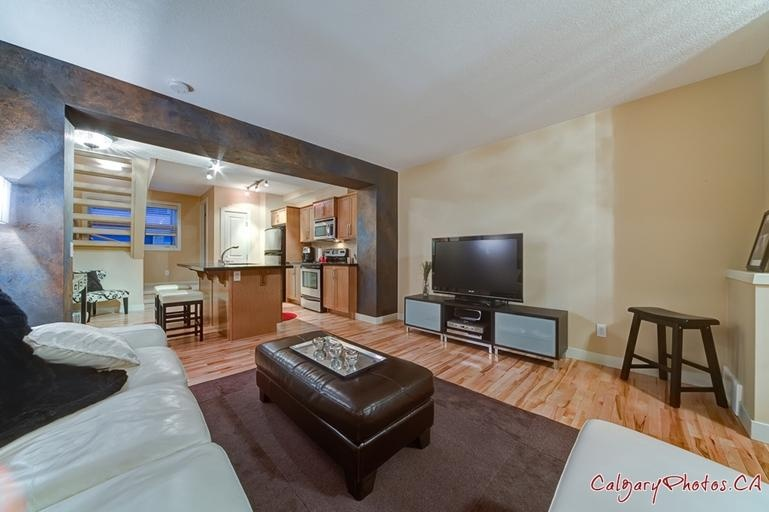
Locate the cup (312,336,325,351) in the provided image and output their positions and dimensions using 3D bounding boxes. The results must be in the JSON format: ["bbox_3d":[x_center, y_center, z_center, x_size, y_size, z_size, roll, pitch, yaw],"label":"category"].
[{"bbox_3d":[-0.624,0.849,4.407,0.105,0.101,0.090,-1,0,3],"label":"cup"}]

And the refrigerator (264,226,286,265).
[{"bbox_3d":[-2.065,-0.192,8.912,0.351,0.770,1.071,-5,12,-22],"label":"refrigerator"}]

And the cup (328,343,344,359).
[{"bbox_3d":[-0.445,0.884,4.321,0.120,0.103,0.109,-2,3,-29],"label":"cup"}]

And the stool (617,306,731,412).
[{"bbox_3d":[2.884,0.981,4.604,0.936,0.834,0.621,8,14,36],"label":"stool"}]

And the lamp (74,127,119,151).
[{"bbox_3d":[-3.535,-1.408,5.625,0.406,0.089,0.404,-2,-8,8],"label":"lamp"}]

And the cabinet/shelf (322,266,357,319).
[{"bbox_3d":[-0.715,0.510,7.457,0.220,0.845,0.786,-10,15,-40],"label":"cabinet/shelf"}]

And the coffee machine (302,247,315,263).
[{"bbox_3d":[-1.417,-0.034,8.769,0.216,0.261,0.454,-2,11,-11],"label":"coffee machine"}]

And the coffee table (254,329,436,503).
[{"bbox_3d":[-0.366,1.349,4.200,1.464,0.997,0.832,7,14,35],"label":"coffee table"}]

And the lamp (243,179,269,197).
[{"bbox_3d":[-2.376,-1.291,8.693,0.278,0.213,1.144,12,-11,-27],"label":"lamp"}]

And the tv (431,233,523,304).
[{"bbox_3d":[1.184,0.167,5.750,0.072,0.629,0.939,3,-2,-42],"label":"tv"}]

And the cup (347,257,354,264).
[{"bbox_3d":[-0.589,0.069,7.827,0.122,0.162,0.122,0,3,0],"label":"cup"}]

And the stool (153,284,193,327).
[{"bbox_3d":[-2.766,0.735,6.260,0.474,0.605,0.877,-3,8,-31],"label":"stool"}]

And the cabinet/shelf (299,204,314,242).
[{"bbox_3d":[-1.478,-0.620,8.886,0.267,0.674,0.734,0,-2,-31],"label":"cabinet/shelf"}]

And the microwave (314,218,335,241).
[{"bbox_3d":[-1.064,-0.489,8.270,0.150,0.425,0.726,-7,13,-32],"label":"microwave"}]
